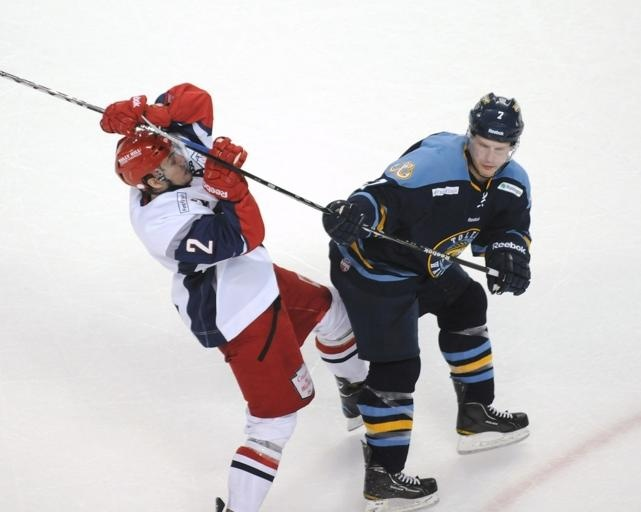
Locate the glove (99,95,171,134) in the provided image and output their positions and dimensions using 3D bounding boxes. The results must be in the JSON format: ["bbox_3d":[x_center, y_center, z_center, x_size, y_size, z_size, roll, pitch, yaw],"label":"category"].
[{"bbox_3d":[-0.785,-0.593,3.177,0.326,0.253,0.150,-16,-72,-12],"label":"glove"}]

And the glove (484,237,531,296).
[{"bbox_3d":[0.893,0.048,3.571,0.206,0.271,0.136,-23,-26,10],"label":"glove"}]

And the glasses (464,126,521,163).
[{"bbox_3d":[0.765,-0.494,3.359,0.141,0.091,0.178,20,-38,-4],"label":"glasses"}]

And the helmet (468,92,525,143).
[{"bbox_3d":[0.758,-0.600,3.362,0.201,0.243,0.242,14,-45,0],"label":"helmet"}]

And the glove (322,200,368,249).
[{"bbox_3d":[0.112,-0.138,3.237,0.101,0.180,0.140,39,-66,-21],"label":"glove"}]

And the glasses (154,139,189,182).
[{"bbox_3d":[-0.618,-0.401,3.238,0.161,0.120,0.153,-12,-47,0],"label":"glasses"}]
